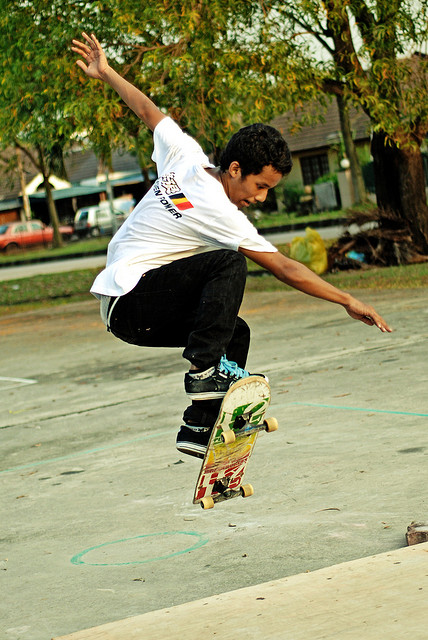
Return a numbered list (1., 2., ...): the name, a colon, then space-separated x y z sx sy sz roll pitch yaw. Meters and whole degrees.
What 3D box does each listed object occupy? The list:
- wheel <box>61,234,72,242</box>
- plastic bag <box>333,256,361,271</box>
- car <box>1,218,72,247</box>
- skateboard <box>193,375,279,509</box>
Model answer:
1. wheel: -8.534 -4.770 41.307 0.394 0.479 1.051 -10 7 1
2. plastic bag: 2.471 -1.043 13.027 0.496 0.264 0.118 -3 11 37
3. car: -9.929 -5.016 40.544 4.170 1.176 1.724 -5 8 -21
4. skateboard: 0.069 0.542 2.968 0.285 0.672 0.121 -1 39 -35
